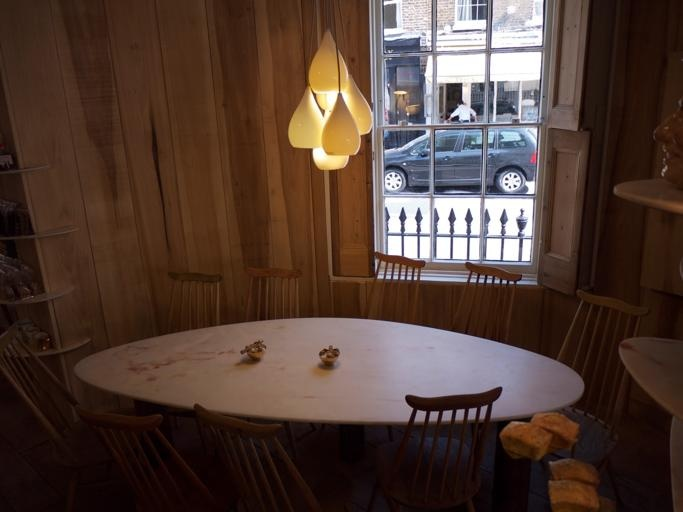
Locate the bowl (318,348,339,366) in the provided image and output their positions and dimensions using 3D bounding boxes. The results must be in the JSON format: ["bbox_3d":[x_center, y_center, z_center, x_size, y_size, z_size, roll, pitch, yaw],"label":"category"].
[{"bbox_3d":[-0.069,0.563,3.094,0.092,0.075,0.098,0,3,0],"label":"bowl"}]

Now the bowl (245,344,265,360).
[{"bbox_3d":[-0.507,0.557,3.151,0.086,0.069,0.094,-4,-6,0],"label":"bowl"}]

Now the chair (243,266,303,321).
[{"bbox_3d":[-0.529,0.311,4.108,0.402,0.548,0.723,-3,17,-9],"label":"chair"}]

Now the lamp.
[{"bbox_3d":[-0.052,-0.849,2.987,0.420,0.712,0.984,0,17,2],"label":"lamp"}]
